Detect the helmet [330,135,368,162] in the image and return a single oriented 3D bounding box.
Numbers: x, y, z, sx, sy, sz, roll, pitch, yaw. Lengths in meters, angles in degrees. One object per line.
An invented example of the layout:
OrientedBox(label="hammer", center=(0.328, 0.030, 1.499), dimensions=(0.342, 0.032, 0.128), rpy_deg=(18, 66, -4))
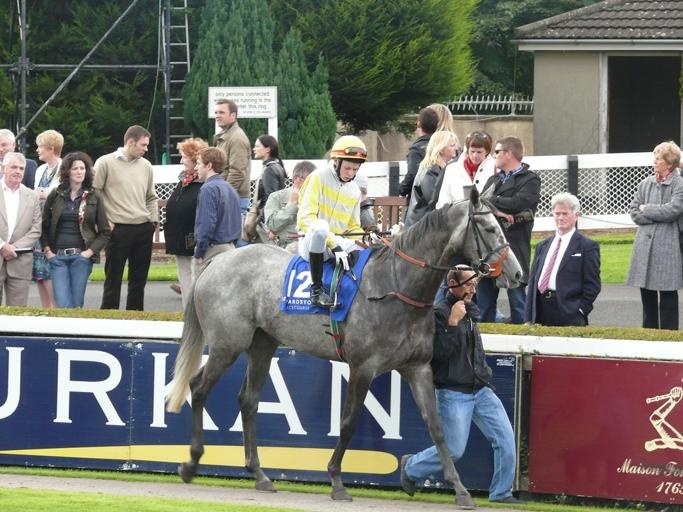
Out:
OrientedBox(label="helmet", center=(0.062, -1.450, 23.820), dimensions=(0.329, 0.227, 0.393), rpy_deg=(2, -1, -38))

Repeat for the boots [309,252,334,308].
OrientedBox(label="boots", center=(-0.252, 0.306, 23.679), dimensions=(0.348, 0.710, 0.162), rpy_deg=(4, 6, 22))

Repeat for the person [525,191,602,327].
OrientedBox(label="person", center=(3.096, 0.040, 25.099), dimensions=(0.997, 1.840, 0.402), rpy_deg=(3, 6, 8))

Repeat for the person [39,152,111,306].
OrientedBox(label="person", center=(-3.930, -0.404, 26.545), dimensions=(1.001, 2.276, 0.453), rpy_deg=(1, 6, -10))

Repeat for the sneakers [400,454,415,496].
OrientedBox(label="sneakers", center=(0.898, 2.894, 23.909), dimensions=(0.228, 0.564, 0.169), rpy_deg=(-2, 7, 15))
